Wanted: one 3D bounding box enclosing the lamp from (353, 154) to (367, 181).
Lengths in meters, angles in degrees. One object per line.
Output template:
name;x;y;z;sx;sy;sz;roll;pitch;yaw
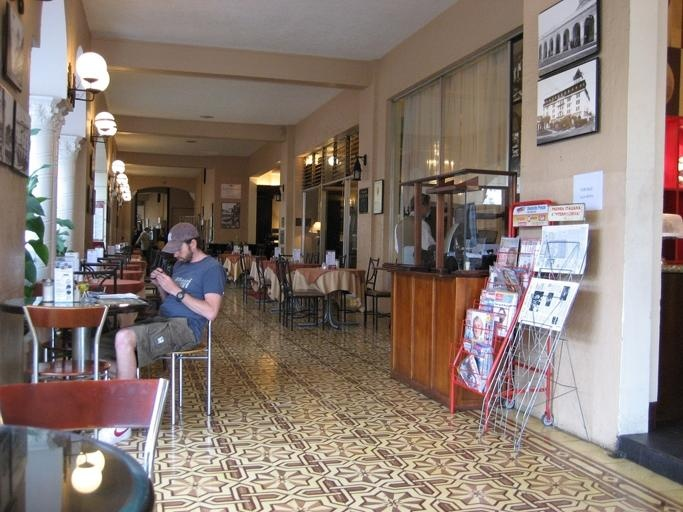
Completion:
lamp;0.332;-1.588;9.604;0.216;0.459;0.509;1;3;-1

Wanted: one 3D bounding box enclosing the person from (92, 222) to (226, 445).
person;-1.362;0.457;3.983;0.818;1.429;0.566;2;6;-33

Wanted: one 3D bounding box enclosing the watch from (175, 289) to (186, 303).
watch;-1.165;0.288;3.870;0.057;0.088;0.079;29;-22;-1

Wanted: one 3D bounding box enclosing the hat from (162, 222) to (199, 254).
hat;-1.189;-0.142;3.990;0.178;0.150;0.282;11;28;38

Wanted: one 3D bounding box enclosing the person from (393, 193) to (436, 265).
person;0.685;-0.245;4.962;0.238;0.645;0.732;1;3;-4
